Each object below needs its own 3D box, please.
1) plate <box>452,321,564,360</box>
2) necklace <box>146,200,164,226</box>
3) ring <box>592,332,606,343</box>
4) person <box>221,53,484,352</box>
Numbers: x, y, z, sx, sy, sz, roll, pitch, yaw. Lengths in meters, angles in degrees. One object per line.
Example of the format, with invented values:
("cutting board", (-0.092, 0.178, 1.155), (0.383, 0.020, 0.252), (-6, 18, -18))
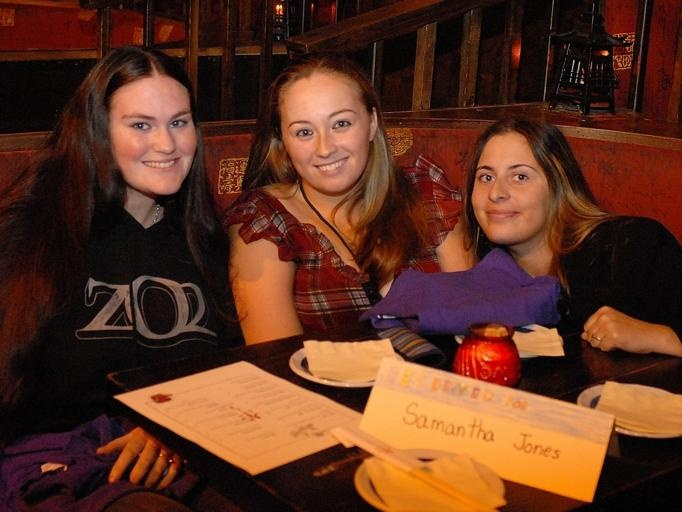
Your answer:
("plate", (0.501, 0.221, 1.313), (0.151, 0.055, 0.155), (11, 10, 41))
("necklace", (-0.635, -0.154, 1.764), (0.029, 0.069, 0.057), (2, -8, 32))
("ring", (0.691, 0.221, 1.371), (0.023, 0.015, 0.023), (14, -2, 0))
("person", (0.038, -0.138, 2.128), (1.013, 1.238, 0.909), (-7, 26, 2))
